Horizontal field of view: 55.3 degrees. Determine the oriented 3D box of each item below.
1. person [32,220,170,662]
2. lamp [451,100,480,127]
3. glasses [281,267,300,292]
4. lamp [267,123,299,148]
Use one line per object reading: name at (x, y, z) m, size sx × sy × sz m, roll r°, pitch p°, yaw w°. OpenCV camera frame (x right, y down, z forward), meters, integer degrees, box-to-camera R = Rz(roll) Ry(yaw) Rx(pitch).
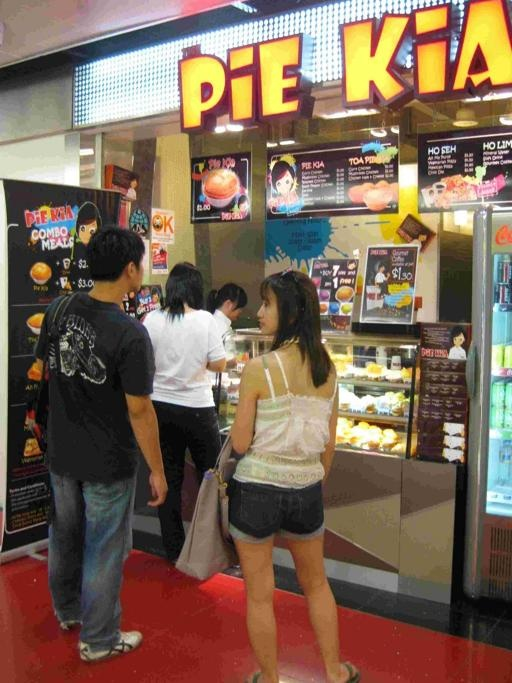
person at (-0.598, 0.414, 1.854) m, size 0.523 × 1.597 × 0.513 m, roll 0°, pitch -4°, yaw 7°
lamp at (1.266, -1.353, 2.958) m, size 0.131 × 0.149 × 0.134 m, roll 0°, pitch -12°, yaw 1°
glasses at (0.107, -0.189, 1.502) m, size 0.047 × 0.068 × 0.025 m, roll -2°, pitch -28°, yaw 13°
lamp at (0.202, -1.585, 3.765) m, size 0.319 × 0.174 × 0.320 m, roll -4°, pitch 19°, yaw -10°
